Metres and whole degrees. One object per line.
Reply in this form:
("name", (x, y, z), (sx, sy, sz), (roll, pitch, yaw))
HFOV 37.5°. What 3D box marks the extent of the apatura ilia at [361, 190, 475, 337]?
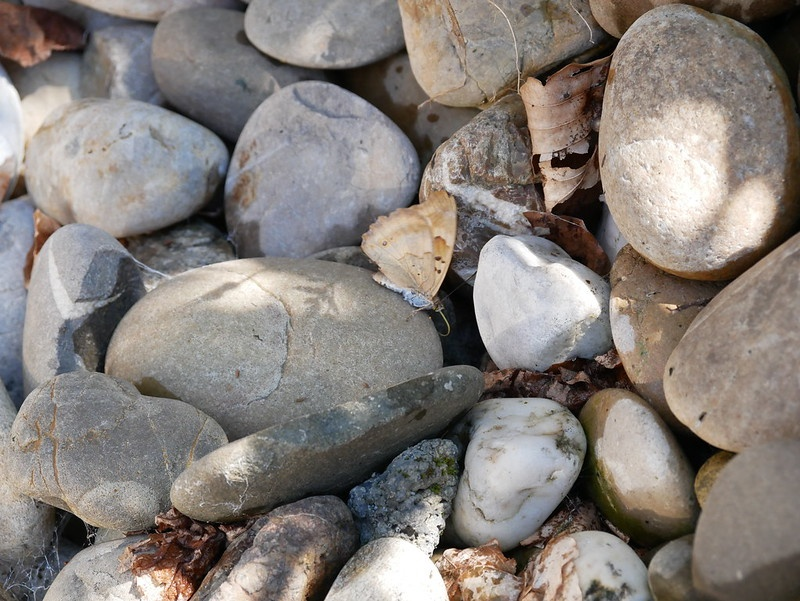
("apatura ilia", (0.063, -0.195, 4.705), (0.255, 0.435, 0.400), (-36, 61, -28))
